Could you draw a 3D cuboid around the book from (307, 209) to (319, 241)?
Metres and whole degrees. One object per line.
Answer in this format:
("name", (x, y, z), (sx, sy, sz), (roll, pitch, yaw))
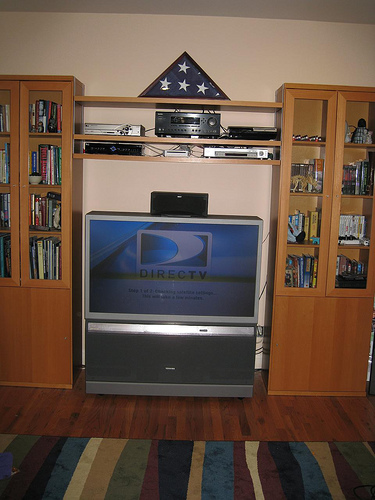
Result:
("book", (0.852, -0.181, 2.933), (0.070, 0.173, 0.192), (-1, 11, 2))

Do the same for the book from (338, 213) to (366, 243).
("book", (1.109, -0.157, 2.935), (0.202, 0.177, 0.111), (-1, 4, -13))

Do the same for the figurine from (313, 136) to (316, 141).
("figurine", (0.834, -0.734, 2.833), (0.010, 0.029, 0.016), (9, 13, 43))

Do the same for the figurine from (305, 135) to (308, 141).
("figurine", (0.779, -0.737, 2.830), (0.017, 0.035, 0.007), (-1, 9, -9))

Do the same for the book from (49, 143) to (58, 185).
("book", (-0.882, -0.571, 2.856), (0.057, 0.258, 0.025), (-1, 9, -8))

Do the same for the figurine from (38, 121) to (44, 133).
("figurine", (-0.956, -0.806, 2.814), (0.047, 0.060, 0.019), (1, 3, -7))

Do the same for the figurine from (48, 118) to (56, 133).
("figurine", (-0.883, -0.814, 2.814), (0.051, 0.094, 0.023), (-1, 9, -7))

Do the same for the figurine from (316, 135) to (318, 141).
("figurine", (0.849, -0.736, 2.836), (0.019, 0.035, 0.020), (0, 11, 3))

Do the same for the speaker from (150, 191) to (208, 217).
("speaker", (-0.054, -0.303, 2.862), (0.373, 0.160, 0.104), (0, 9, -2))

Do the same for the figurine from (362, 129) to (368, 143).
("figurine", (1.179, -0.757, 2.871), (0.042, 0.080, 0.011), (-5, 11, -31))

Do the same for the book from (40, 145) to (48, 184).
("book", (-0.955, -0.570, 2.858), (0.059, 0.249, 0.016), (2, 10, 13))

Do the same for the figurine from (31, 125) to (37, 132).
("figurine", (-1.000, -0.795, 2.813), (0.034, 0.044, 0.008), (0, 9, -3))

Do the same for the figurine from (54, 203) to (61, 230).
("figurine", (-0.871, -0.226, 2.909), (0.040, 0.180, 0.025), (3, 10, 14))

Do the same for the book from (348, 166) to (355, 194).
("book", (1.098, -0.469, 2.880), (0.048, 0.184, 0.019), (-3, 10, -20))

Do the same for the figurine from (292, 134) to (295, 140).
("figurine", (0.692, -0.738, 2.814), (0.022, 0.032, 0.008), (-4, 10, -26))

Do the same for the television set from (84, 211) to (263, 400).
("television set", (-0.113, 0.341, 2.845), (1.277, 1.296, 0.428), (0, 5, -1))

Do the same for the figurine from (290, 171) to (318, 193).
("figurine", (0.773, -0.463, 2.872), (0.150, 0.121, 0.029), (-1, 7, -2))

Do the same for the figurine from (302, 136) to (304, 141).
("figurine", (0.756, -0.731, 2.827), (0.010, 0.026, 0.007), (1, 9, 2))

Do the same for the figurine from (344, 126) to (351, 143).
("figurine", (1.058, -0.763, 2.847), (0.031, 0.108, 0.083), (5, 11, 27))

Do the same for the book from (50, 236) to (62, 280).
("book", (-0.896, 0.075, 2.933), (0.053, 0.208, 0.208), (0, 8, -8))
